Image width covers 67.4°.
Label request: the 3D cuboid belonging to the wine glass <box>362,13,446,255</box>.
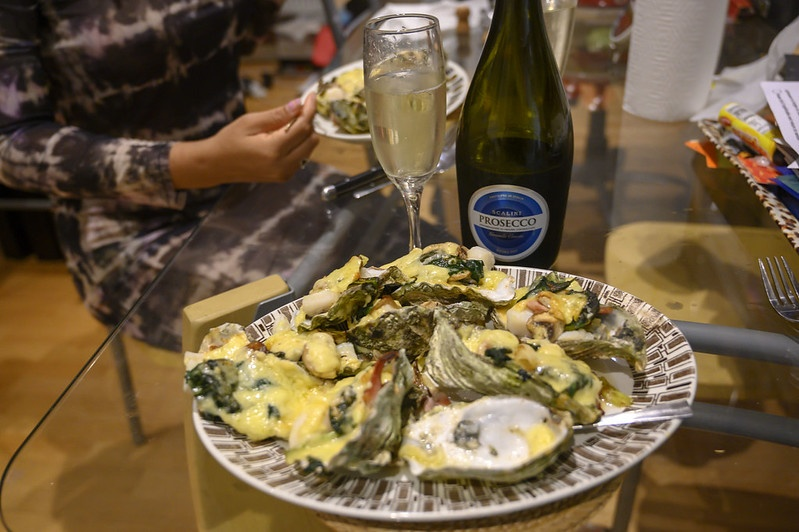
[{"bbox_3d":[0.020,-0.209,0.938,0.116,0.341,0.288,-5,53,6],"label":"wine glass"}]
